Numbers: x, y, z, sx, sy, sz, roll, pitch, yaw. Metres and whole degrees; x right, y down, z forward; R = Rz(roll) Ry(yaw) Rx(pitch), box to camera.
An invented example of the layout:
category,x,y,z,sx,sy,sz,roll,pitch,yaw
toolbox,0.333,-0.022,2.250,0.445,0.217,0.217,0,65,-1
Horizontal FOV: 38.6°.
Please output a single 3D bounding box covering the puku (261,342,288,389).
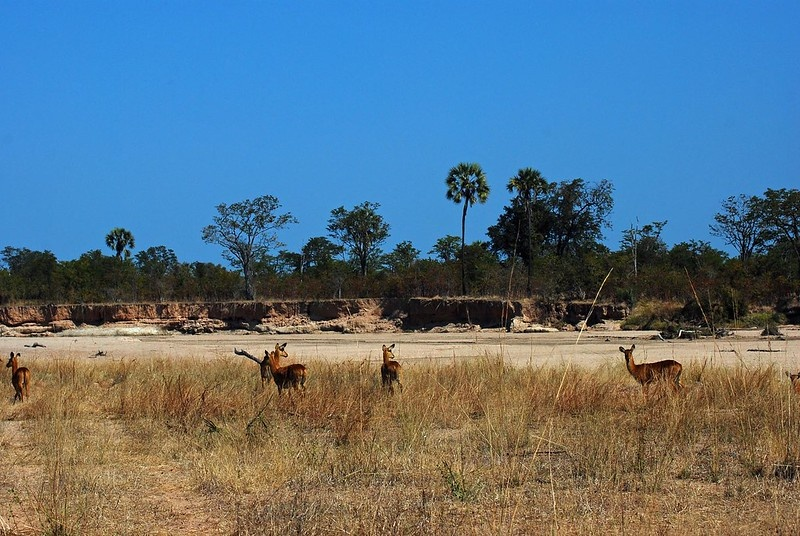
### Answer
category,x,y,z,sx,sy,sz,roll,pitch,yaw
puku,-4.179,3.119,37.490,1.173,1.186,0.377,-8,10,15
